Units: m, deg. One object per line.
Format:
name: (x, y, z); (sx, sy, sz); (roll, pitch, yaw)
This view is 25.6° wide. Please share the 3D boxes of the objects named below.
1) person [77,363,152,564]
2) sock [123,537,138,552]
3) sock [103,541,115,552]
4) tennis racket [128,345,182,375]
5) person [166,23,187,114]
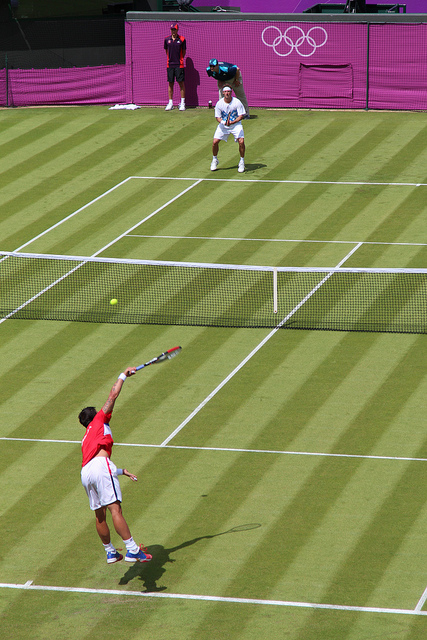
person: (-0.917, 1.516, 8.534); (0.518, 1.633, 1.109); (-10, 16, -6)
sock: (-0.705, 1.942, 8.169); (0.091, 0.134, 0.117); (-11, 16, -9)
sock: (-0.902, 2.031, 8.391); (0.085, 0.077, 0.109); (-7, 19, -16)
tennis racket: (-0.497, 0.401, 9.254); (0.202, 0.047, 0.690); (13, 14, 23)
person: (-0.974, -7.019, 26.338); (0.569, 2.363, 0.893); (-12, 17, -11)
